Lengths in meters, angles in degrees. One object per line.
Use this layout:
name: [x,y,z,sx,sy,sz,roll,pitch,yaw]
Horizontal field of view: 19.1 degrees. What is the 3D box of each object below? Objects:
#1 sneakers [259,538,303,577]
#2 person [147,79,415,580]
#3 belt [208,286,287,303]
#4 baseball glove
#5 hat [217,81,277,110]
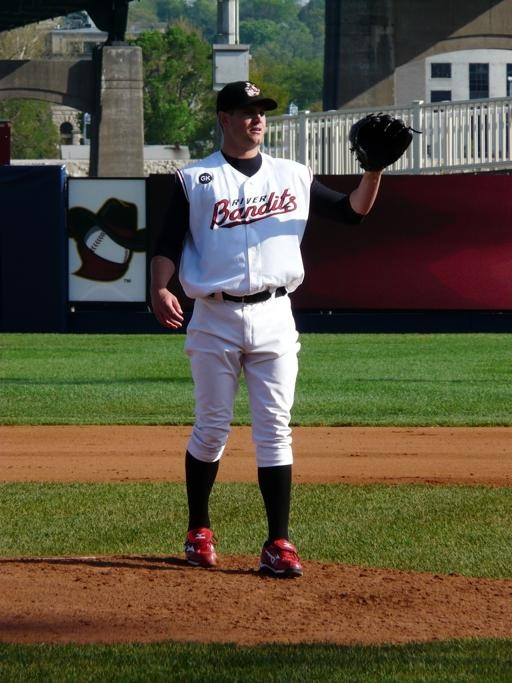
sneakers: [0.104,0.984,7.043,0.093,0.135,0.248,1,-1,-31]
person: [0.027,-0.072,7.044,1.037,2.243,0.402,1,5,-5]
belt: [-0.031,-0.215,6.967,0.383,0.076,0.094,0,6,-21]
baseball glove: [0.609,-0.992,7.262,0.418,0.205,0.365,9,12,-25]
hat: [-0.063,-1.097,7.033,0.202,0.119,0.153,-9,7,38]
